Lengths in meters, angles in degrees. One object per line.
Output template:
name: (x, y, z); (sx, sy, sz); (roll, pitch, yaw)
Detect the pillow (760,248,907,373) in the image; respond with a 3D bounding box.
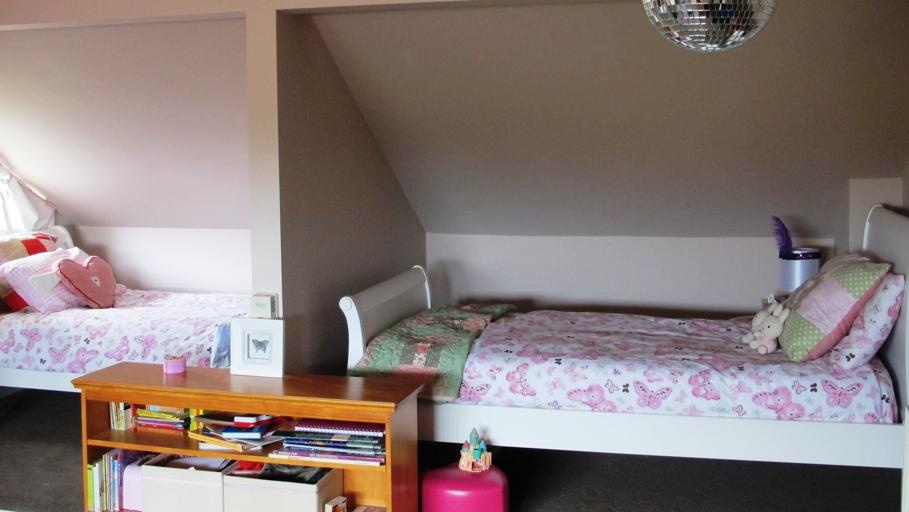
pillow: (2.421, 0.325, 4.229); (0.734, 0.627, 0.480); (1, 14, 6)

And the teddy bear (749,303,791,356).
teddy bear: (2.120, 0.481, 4.352); (0.231, 0.332, 0.246); (-5, 18, -21)

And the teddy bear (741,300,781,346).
teddy bear: (2.171, 0.477, 4.510); (0.188, 0.267, 0.187); (11, 20, -20)

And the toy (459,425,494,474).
toy: (0.141, 1.246, 4.128); (0.250, 0.260, 0.263); (0, 2, 6)

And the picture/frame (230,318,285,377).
picture/frame: (-1.247, 0.577, 4.065); (0.417, 0.389, 0.046); (1, 0, 1)

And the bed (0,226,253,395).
bed: (-2.946, 0.220, 5.583); (2.035, 1.274, 0.947); (2, 0, 0)
